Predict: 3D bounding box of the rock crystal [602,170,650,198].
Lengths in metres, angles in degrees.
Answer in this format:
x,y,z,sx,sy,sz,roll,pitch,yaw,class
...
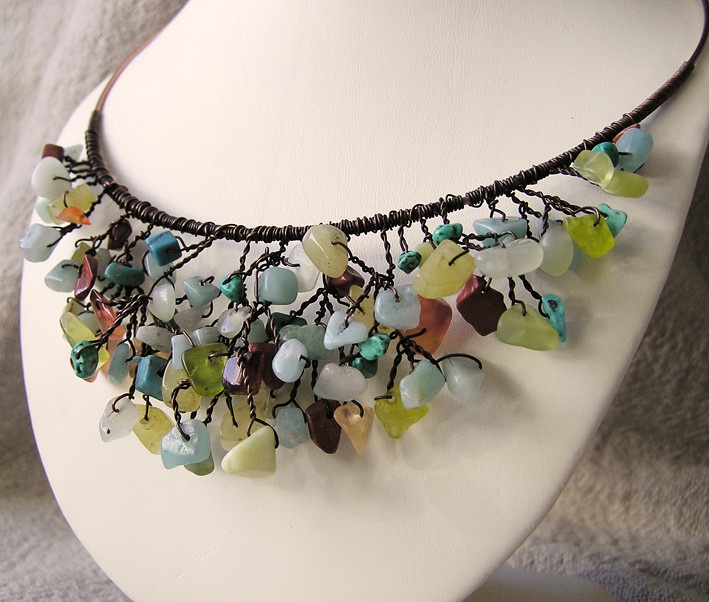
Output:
x,y,z,sx,sy,sz,roll,pitch,yaw,class
0.420,-0.179,1.155,0.060,0.061,0.039,6,97,16,rock crystal

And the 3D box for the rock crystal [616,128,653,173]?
x,y,z,sx,sy,sz,roll,pitch,yaw,class
0.442,-0.251,1.204,0.077,0.103,0.028,19,84,24,rock crystal

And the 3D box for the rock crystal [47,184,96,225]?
x,y,z,sx,sy,sz,roll,pitch,yaw,class
-0.512,-0.170,1.372,0.071,0.023,0.075,-30,105,-27,rock crystal

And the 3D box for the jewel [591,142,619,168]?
x,y,z,sx,sy,sz,roll,pitch,yaw,class
0.400,-0.235,1.169,0.035,0.014,0.043,7,83,24,jewel

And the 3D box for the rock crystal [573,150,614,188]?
x,y,z,sx,sy,sz,roll,pitch,yaw,class
0.374,-0.209,1.156,0.063,0.033,0.045,32,88,8,rock crystal

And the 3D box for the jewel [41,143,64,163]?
x,y,z,sx,sy,sz,roll,pitch,yaw,class
-0.584,-0.284,1.454,0.034,0.035,0.036,-1,93,-24,jewel
